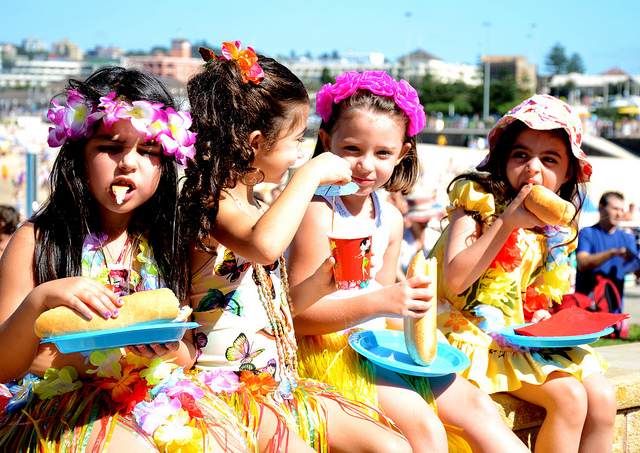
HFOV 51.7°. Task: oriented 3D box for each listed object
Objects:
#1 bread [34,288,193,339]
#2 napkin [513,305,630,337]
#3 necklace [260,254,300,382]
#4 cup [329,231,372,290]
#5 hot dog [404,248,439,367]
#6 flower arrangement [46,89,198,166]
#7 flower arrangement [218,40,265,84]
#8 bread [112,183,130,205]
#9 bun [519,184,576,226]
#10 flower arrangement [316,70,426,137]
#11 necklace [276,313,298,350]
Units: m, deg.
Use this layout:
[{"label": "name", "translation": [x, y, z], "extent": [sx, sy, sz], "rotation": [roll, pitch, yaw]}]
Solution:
[{"label": "bread", "translation": [-0.835, 0.362, 2.717], "extent": [0.662, 0.194, 0.218], "rotation": [-7, 8, -13]}, {"label": "napkin", "translation": [1.400, 0.547, 3.713], "extent": [0.372, 0.095, 0.263], "rotation": [5, 11, -30]}, {"label": "necklace", "translation": [-0.184, 0.412, 3.316], "extent": [0.154, 0.708, 0.030], "rotation": [-15, -9, 12]}, {"label": "cup", "translation": [0.144, 0.188, 3.268], "extent": [0.261, 0.297, 0.266], "rotation": [-2, -5, 0]}, {"label": "hot dog", "translation": [0.517, 0.413, 3.362], "extent": [0.167, 0.593, 0.360], "rotation": [4, 7, 11]}, {"label": "flower arrangement", "translation": [-0.880, -0.469, 2.940], "extent": [0.394, 0.162, 0.409], "rotation": [13, 6, -21]}, {"label": "flower arrangement", "translation": [-0.405, -0.831, 3.378], "extent": [0.248, 0.218, 0.219], "rotation": [3, 7, -4]}, {"label": "bread", "translation": [-0.872, -0.135, 2.889], "extent": [0.061, 0.087, 0.019], "rotation": [2, -9, -22]}, {"label": "bun", "translation": [1.211, -0.104, 3.524], "extent": [0.222, 0.087, 0.178], "rotation": [41, 9, 31]}, {"label": "flower arrangement", "translation": [0.291, -0.711, 3.787], "extent": [0.628, 0.364, 0.327], "rotation": [3, 7, -2]}, {"label": "necklace", "translation": [-0.158, 0.533, 3.306], "extent": [0.063, 0.220, 0.011], "rotation": [-25, -3, 34]}]
